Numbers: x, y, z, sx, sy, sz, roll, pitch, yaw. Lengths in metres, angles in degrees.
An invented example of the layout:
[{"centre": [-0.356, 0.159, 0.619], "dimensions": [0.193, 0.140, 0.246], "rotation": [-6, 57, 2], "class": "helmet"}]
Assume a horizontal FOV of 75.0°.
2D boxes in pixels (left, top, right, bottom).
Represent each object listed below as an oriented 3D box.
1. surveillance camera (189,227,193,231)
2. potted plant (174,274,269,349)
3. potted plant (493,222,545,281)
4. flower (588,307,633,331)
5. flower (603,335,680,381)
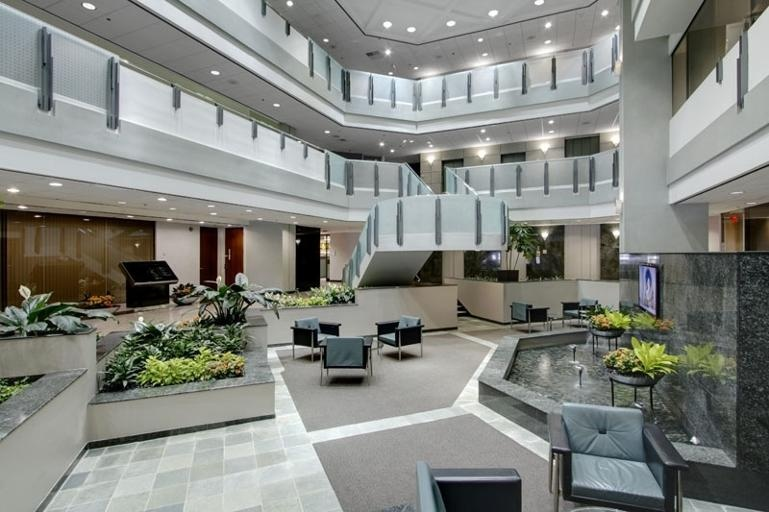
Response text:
[{"centre": [-7.508, -1.052, 19.403], "dimensions": [0.042, 0.176, 0.145], "rotation": [-2, -4, 29], "class": "surveillance camera"}, {"centre": [-3.923, 1.357, 12.311], "dimensions": [1.893, 0.967, 1.883], "rotation": [-1, -5, 9], "class": "potted plant"}, {"centre": [4.979, -0.202, 18.686], "dimensions": [2.118, 2.283, 1.760], "rotation": [2, -5, -8], "class": "potted plant"}, {"centre": [5.997, 1.721, 13.503], "dimensions": [0.643, 0.285, 0.617], "rotation": [0, 2, -14], "class": "flower"}, {"centre": [5.261, 2.072, 10.138], "dimensions": [0.905, 0.446, 0.905], "rotation": [-6, -4, 41], "class": "flower"}]
